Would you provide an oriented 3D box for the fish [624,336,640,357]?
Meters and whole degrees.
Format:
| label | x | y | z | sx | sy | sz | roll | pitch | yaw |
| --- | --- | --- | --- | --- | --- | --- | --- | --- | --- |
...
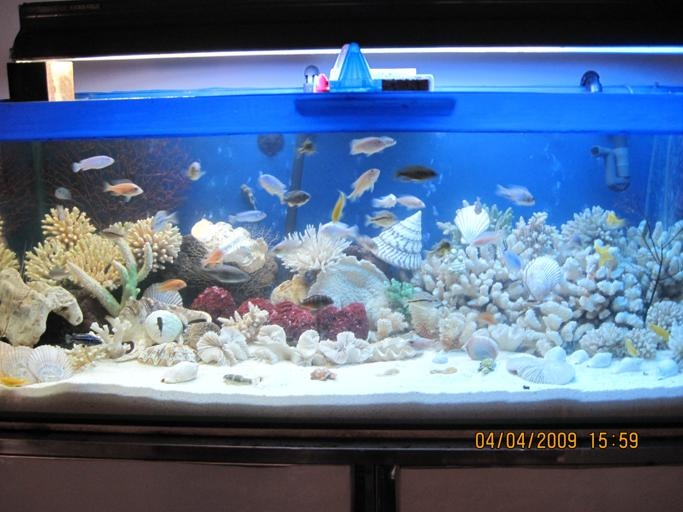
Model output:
| label | x | y | z | sx | sy | sz | roll | pitch | yaw |
| --- | --- | --- | --- | --- | --- | --- | --- | --- | --- |
| fish | 1.535 | 0.493 | 3.754 | 0.062 | 0.139 | 0.038 | -3 | -5 | 2 |

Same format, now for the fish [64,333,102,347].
| label | x | y | z | sx | sy | sz | roll | pitch | yaw |
| --- | --- | --- | --- | --- | --- | --- | --- | --- | --- |
| fish | -1.403 | 0.466 | 3.851 | 0.187 | 0.076 | 0.035 | 3 | -25 | 4 |

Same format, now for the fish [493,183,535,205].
| label | x | y | z | sx | sy | sz | roll | pitch | yaw |
| --- | --- | --- | --- | --- | --- | --- | --- | --- | --- |
| fish | 0.981 | -0.341 | 4.010 | 0.210 | 0.113 | 0.085 | 2 | 8 | 13 |

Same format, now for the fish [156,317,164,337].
| label | x | y | z | sx | sy | sz | roll | pitch | yaw |
| --- | --- | --- | --- | --- | --- | --- | --- | --- | --- |
| fish | -0.991 | 0.396 | 3.877 | 0.024 | 0.099 | 0.041 | 0 | 11 | 23 |

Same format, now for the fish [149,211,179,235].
| label | x | y | z | sx | sy | sz | roll | pitch | yaw |
| --- | --- | --- | --- | --- | --- | --- | --- | --- | --- |
| fish | -1.007 | -0.187 | 3.971 | 0.147 | 0.089 | 0.033 | -32 | 37 | -14 |

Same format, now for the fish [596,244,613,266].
| label | x | y | z | sx | sy | sz | roll | pitch | yaw |
| --- | --- | --- | --- | --- | --- | --- | --- | --- | --- |
| fish | 1.421 | 0.001 | 3.830 | 0.066 | 0.116 | 0.066 | -4 | -12 | 16 |

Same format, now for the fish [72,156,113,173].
| label | x | y | z | sx | sy | sz | roll | pitch | yaw |
| --- | --- | --- | --- | --- | --- | --- | --- | --- | --- |
| fish | -1.351 | -0.493 | 3.805 | 0.164 | 0.064 | 0.037 | -9 | 40 | -13 |

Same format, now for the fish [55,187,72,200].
| label | x | y | z | sx | sy | sz | roll | pitch | yaw |
| --- | --- | --- | --- | --- | --- | --- | --- | --- | --- |
| fish | -1.512 | -0.332 | 3.832 | 0.091 | 0.072 | 0.007 | 0 | 8 | -7 |

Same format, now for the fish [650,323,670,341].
| label | x | y | z | sx | sy | sz | roll | pitch | yaw |
| --- | --- | --- | --- | --- | --- | --- | --- | --- | --- |
| fish | 1.694 | 0.413 | 3.756 | 0.125 | 0.053 | 0.027 | 32 | -1 | 32 |

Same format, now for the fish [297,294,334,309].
| label | x | y | z | sx | sy | sz | roll | pitch | yaw |
| --- | --- | --- | --- | --- | --- | --- | --- | --- | --- |
| fish | -0.131 | 0.261 | 3.947 | 0.179 | 0.074 | 0.095 | -4 | 9 | -33 |
